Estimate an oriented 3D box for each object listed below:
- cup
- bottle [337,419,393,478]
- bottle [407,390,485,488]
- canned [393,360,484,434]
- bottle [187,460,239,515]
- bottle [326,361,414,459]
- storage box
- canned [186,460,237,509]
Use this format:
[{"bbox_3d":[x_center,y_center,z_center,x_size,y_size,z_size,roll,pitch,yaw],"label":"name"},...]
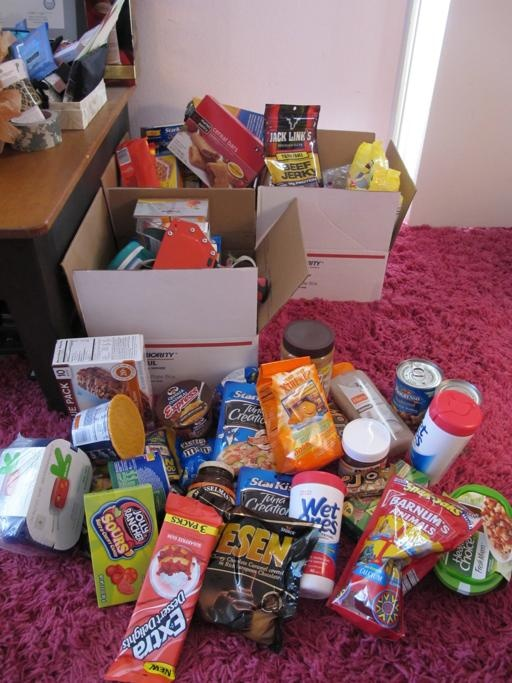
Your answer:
[{"bbox_3d":[-0.250,0.152,0.890,0.096,0.121,0.116,-1,18,13],"label":"cup"},{"bbox_3d":[0.192,0.193,0.929,0.085,0.092,0.082,-1,40,-4],"label":"bottle"},{"bbox_3d":[0.336,0.173,0.925,0.068,0.166,0.069,2,56,-2],"label":"bottle"},{"bbox_3d":[0.338,0.106,0.981,0.105,0.105,0.056,31,68,22],"label":"canned"},{"bbox_3d":[-0.067,0.237,0.870,0.066,0.070,0.076,-2,45,25],"label":"bottle"},{"bbox_3d":[0.224,0.128,1.062,0.096,0.036,0.207,-23,53,-23],"label":"bottle"},{"bbox_3d":[-0.031,-0.157,1.357,0.831,0.413,0.584,0,51,-2],"label":"storage box"},{"bbox_3d":[-0.066,0.251,0.899,0.066,0.065,0.072,33,51,-17],"label":"canned"}]
